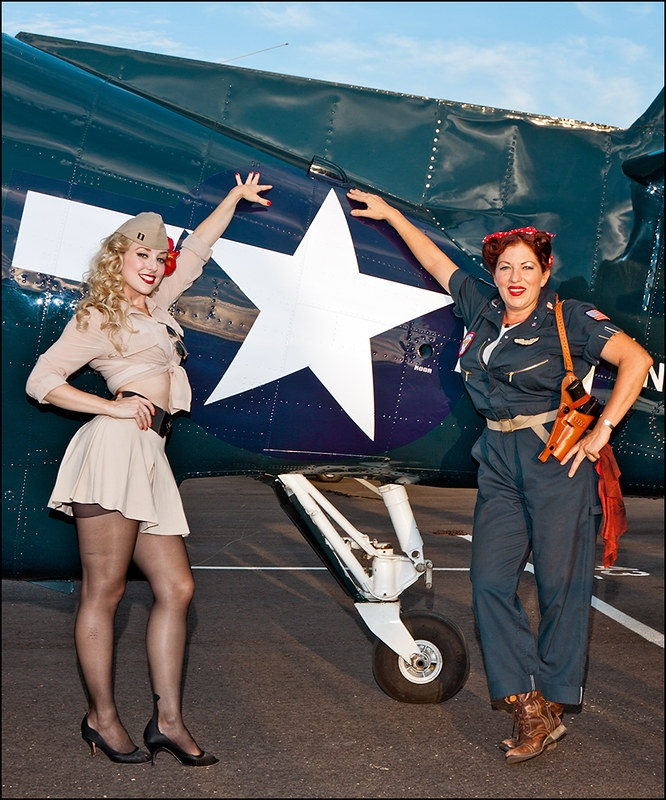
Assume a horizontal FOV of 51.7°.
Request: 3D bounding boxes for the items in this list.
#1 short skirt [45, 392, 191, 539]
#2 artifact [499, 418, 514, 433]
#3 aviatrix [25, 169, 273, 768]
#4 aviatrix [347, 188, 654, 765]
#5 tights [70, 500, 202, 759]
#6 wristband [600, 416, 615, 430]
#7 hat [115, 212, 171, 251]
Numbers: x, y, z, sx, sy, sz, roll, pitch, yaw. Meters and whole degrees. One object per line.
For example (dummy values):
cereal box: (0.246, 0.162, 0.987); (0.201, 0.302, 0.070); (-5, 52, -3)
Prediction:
short skirt: (-0.871, 0.224, 2.786); (0.586, 0.496, 0.745); (13, 13, 41)
artifact: (0.747, 0.112, 2.967); (0.069, 0.040, 0.076); (-2, 7, -44)
aviatrix: (-0.700, 0.238, 2.750); (1.337, 2.317, 0.601); (-1, -3, -35)
aviatrix: (0.725, 0.269, 3.117); (1.537, 2.510, 0.693); (0, 2, 36)
tights: (-0.734, 0.893, 2.618); (0.537, 0.789, 0.222); (4, -2, -16)
wristband: (1.095, 0.098, 2.726); (0.058, 0.031, 0.056); (28, -12, 45)
hat: (-0.707, -0.636, 2.587); (0.201, 0.088, 0.149); (10, 7, 38)
